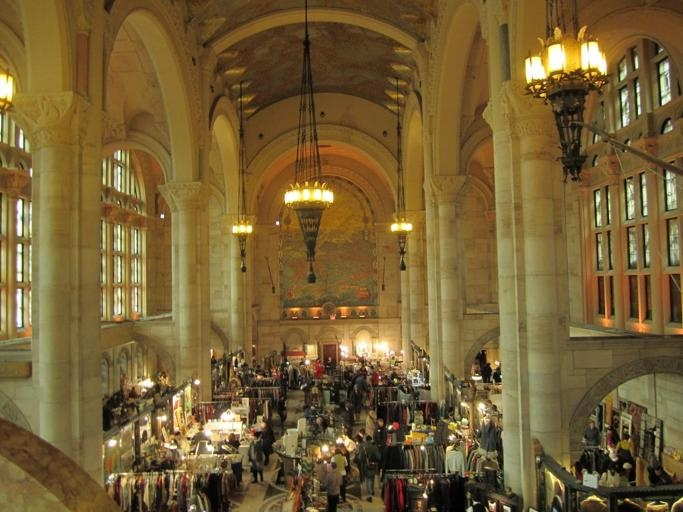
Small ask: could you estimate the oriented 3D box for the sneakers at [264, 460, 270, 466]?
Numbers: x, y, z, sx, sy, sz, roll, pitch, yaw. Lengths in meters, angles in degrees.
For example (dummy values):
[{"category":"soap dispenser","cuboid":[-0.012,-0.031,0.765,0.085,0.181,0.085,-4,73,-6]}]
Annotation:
[{"category":"sneakers","cuboid":[-2.079,5.862,19.856,0.087,0.201,0.195,-15,-28,35]}]
